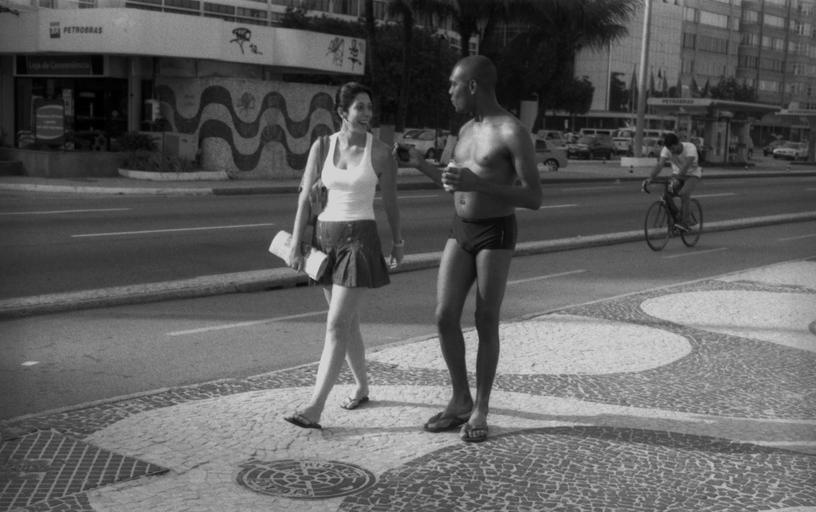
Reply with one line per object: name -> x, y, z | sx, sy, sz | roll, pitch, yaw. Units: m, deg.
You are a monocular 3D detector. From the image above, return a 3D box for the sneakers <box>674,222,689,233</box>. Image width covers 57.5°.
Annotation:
sneakers -> 6.096, -0.523, 16.504 | 0.363, 0.166, 0.135 | -1, 5, -22

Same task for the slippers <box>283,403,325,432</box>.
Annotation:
slippers -> -0.922, 1.432, 6.671 | 0.328, 0.111, 0.183 | 13, 3, -35

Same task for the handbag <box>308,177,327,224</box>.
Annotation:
handbag -> -0.840, -0.465, 6.920 | 0.113, 0.327, 0.232 | 12, 5, -18

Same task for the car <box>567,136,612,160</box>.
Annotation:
car -> 14.719, -7.909, 58.693 | 2.904, 1.289, 1.818 | -6, 10, -44

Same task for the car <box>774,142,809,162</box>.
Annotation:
car -> 38.337, -9.761, 73.963 | 1.783, 1.378, 3.551 | 5, 7, 44
